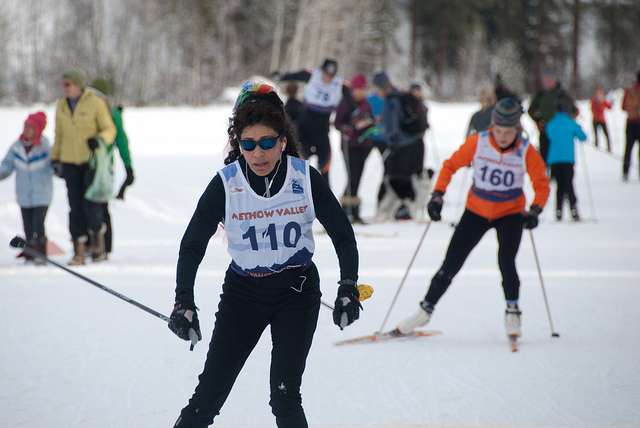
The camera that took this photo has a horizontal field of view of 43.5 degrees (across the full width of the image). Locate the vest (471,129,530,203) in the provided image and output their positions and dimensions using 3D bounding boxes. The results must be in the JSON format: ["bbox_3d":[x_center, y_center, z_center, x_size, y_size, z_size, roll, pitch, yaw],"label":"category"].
[{"bbox_3d":[2.297,-0.618,10.215,0.654,0.948,0.506,6,15,5],"label":"vest"}]

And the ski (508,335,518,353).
[{"bbox_3d":[2.483,1.636,10.279,0.102,0.164,0.233,4,9,10],"label":"ski"}]

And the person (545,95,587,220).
[{"bbox_3d":[4.560,-1.058,15.277,0.780,2.212,1.026,0,0,15],"label":"person"}]

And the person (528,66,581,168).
[{"bbox_3d":[4.481,-1.492,15.996,0.987,2.671,0.713,6,-4,36],"label":"person"}]

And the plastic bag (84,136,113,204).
[{"bbox_3d":[-3.433,-0.690,12.612,0.484,1.070,0.159,-6,11,-42],"label":"plastic bag"}]

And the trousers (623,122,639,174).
[{"bbox_3d":[6.799,-1.439,17.525,0.281,1.161,0.334,5,9,22],"label":"trousers"}]

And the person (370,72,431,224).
[{"bbox_3d":[1.577,-1.256,15.553,1.199,2.777,0.955,1,1,-2],"label":"person"}]

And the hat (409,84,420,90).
[{"bbox_3d":[1.801,-2.400,15.135,0.173,0.097,0.077,4,9,7],"label":"hat"}]

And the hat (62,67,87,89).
[{"bbox_3d":[-3.760,-2.090,12.409,0.315,0.297,0.264,21,16,-32],"label":"hat"}]

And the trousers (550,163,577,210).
[{"bbox_3d":[4.603,-0.576,15.137,0.431,1.343,0.334,-2,28,18],"label":"trousers"}]

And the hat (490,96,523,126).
[{"bbox_3d":[2.397,-1.345,10.253,0.414,0.208,0.633,7,29,16],"label":"hat"}]

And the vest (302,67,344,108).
[{"bbox_3d":[0.080,-2.358,15.033,0.578,0.576,0.318,12,10,-12],"label":"vest"}]

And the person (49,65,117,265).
[{"bbox_3d":[-3.701,-0.808,12.643,1.054,3.023,0.809,0,7,22],"label":"person"}]

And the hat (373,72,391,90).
[{"bbox_3d":[1.200,-2.557,15.379,0.234,0.338,0.124,-9,22,43],"label":"hat"}]

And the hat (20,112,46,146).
[{"bbox_3d":[-4.472,-1.392,12.639,0.342,0.555,0.420,10,-15,-13],"label":"hat"}]
